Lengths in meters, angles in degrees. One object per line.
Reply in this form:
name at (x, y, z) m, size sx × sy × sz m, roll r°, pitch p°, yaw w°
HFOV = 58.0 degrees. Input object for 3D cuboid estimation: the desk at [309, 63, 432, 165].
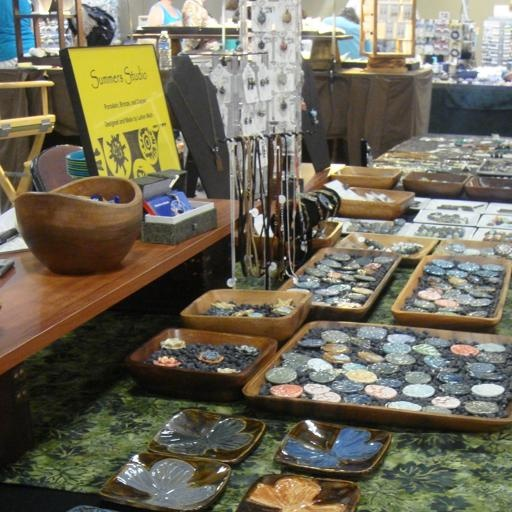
desk at (1.407, -1.716, 5.708) m, size 1.355 × 1.139 × 0.446 m, roll 2°, pitch 18°, yaw 10°

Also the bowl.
bowl at (-0.366, -0.061, 1.055) m, size 0.297 × 0.157 × 0.289 m, roll 0°, pitch 9°, yaw 0°

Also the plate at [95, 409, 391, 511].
plate at (-0.005, 0.328, 0.742) m, size 0.390 × 0.043 × 0.280 m, roll 4°, pitch 14°, yaw 19°
